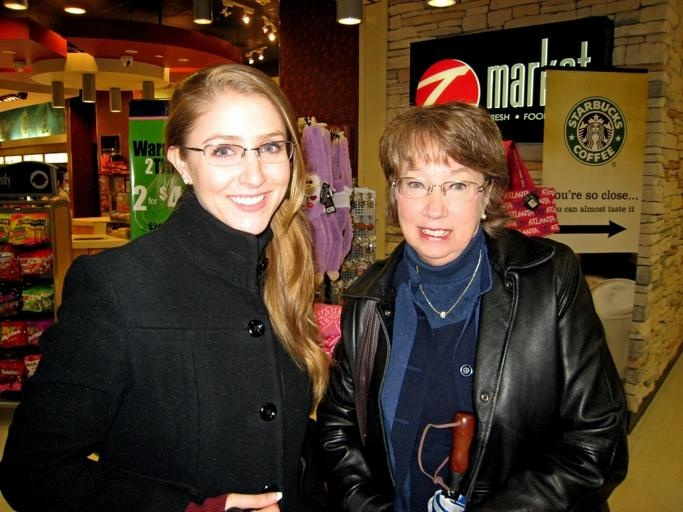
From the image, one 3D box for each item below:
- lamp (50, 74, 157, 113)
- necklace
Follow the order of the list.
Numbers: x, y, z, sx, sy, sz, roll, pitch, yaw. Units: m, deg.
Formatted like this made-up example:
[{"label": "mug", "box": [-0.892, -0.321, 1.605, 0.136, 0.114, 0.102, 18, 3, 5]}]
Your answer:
[{"label": "lamp", "box": [-4.506, -2.909, 10.286, 1.296, 0.470, 1.327, 1, 7, 10]}, {"label": "necklace", "box": [0.438, 0.131, 2.249, 0.311, 0.283, 0.081, 1, 0, 13]}]
